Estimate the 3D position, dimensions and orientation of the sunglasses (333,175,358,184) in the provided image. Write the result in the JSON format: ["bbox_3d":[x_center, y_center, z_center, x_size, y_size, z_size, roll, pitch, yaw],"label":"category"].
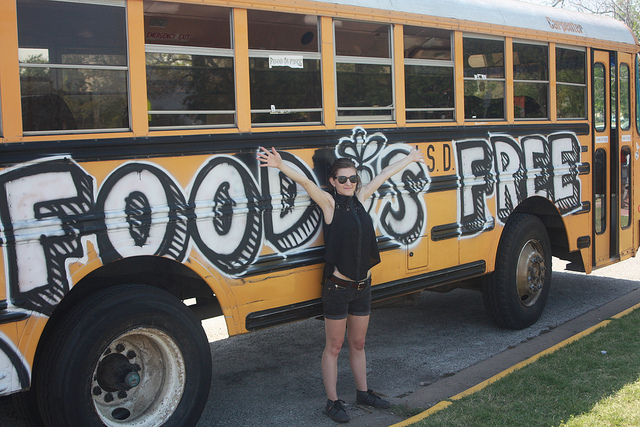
[{"bbox_3d":[0.256,-0.305,4.164,0.188,0.073,0.053,-6,5,-22],"label":"sunglasses"}]
